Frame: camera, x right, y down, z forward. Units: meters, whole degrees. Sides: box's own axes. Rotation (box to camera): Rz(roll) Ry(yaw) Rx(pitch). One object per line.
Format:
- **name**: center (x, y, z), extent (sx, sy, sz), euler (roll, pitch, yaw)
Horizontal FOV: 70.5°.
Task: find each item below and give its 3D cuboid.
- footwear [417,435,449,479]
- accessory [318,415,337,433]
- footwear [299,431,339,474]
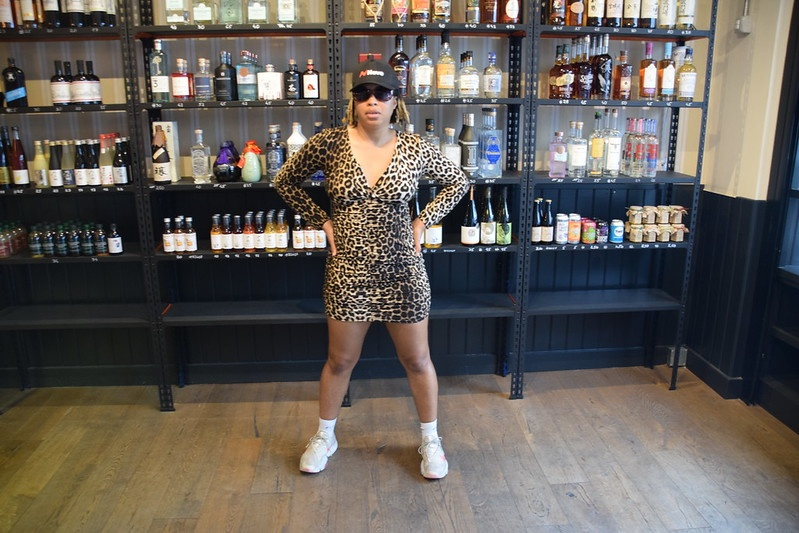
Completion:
- **footwear**: center (0.177, 0.996, 3.094), extent (0.161, 0.123, 0.347), euler (-2, 32, -3)
- **accessory**: center (-0.393, 0.872, 3.135), extent (0.097, 0.084, 0.074), euler (4, 7, 30)
- **footwear**: center (-0.446, 0.999, 3.136), extent (0.157, 0.142, 0.323), euler (10, 22, 18)
